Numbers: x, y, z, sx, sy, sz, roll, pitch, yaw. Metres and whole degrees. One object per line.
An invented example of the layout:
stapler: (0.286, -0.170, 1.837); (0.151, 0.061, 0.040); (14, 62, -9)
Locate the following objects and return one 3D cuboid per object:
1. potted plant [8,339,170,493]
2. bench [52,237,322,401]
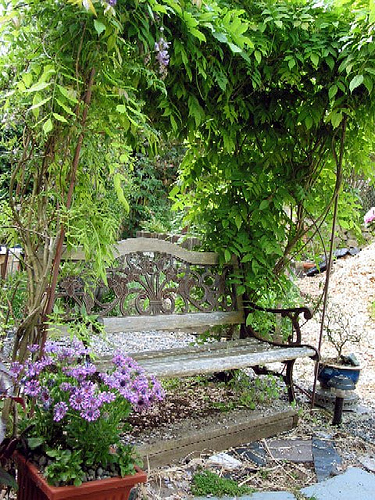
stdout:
potted plant: (-0.368, 0.530, 1.434); (0.450, 0.327, 0.602); (6, 3, -41)
bench: (-0.017, 0.429, 2.466); (0.703, 0.875, 1.623); (9, 2, 38)
